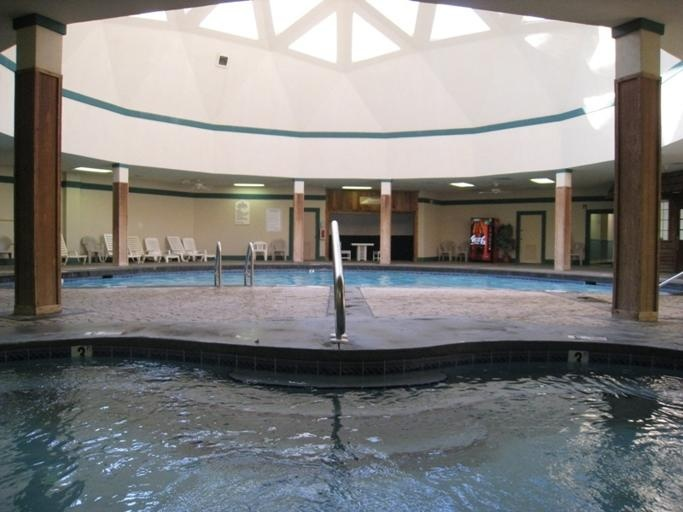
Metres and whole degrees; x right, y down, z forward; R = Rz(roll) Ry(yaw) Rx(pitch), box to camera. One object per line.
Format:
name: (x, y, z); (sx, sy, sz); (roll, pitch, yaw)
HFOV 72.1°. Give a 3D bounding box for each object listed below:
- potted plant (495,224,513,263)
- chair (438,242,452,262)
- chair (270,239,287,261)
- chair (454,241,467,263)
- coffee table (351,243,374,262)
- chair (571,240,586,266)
potted plant: (7.505, -0.588, 21.608); (0.947, 1.710, 0.458); (4, 10, 19)
chair: (5.076, -0.196, 23.250); (0.841, 1.116, 0.918); (0, -1, 12)
chair: (-2.873, -0.302, 21.288); (0.781, 0.898, 0.588); (-2, 10, -15)
chair: (6.037, -0.175, 22.909); (0.887, 1.151, 0.921); (0, -3, 15)
coffee table: (0.957, -0.160, 22.181); (1.022, 0.839, 0.952); (0, -2, -3)
chair: (10.221, -0.138, 20.240); (0.546, 0.941, 0.674); (6, 11, 29)
